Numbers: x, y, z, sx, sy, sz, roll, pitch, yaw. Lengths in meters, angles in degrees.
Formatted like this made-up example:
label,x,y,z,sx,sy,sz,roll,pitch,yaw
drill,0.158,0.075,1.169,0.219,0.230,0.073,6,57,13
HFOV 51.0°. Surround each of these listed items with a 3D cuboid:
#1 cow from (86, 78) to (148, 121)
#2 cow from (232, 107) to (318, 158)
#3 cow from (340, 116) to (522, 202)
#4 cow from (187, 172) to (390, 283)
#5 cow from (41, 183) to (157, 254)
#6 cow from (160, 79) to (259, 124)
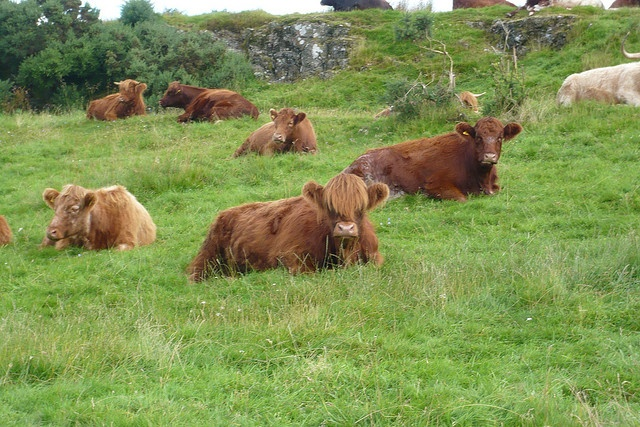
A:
label,x,y,z,sx,sy,sz,roll,pitch,yaw
cow,-7.643,-4.064,24.778,1.118,1.394,2.986,1,-4,-39
cow,-1.029,-2.314,19.038,1.274,1.016,2.206,-3,2,-22
cow,2.794,-1.179,15.895,4.182,1.834,1.810,-5,14,19
cow,-0.653,0.423,12.571,3.346,1.504,1.967,-16,-16,32
cow,-4.541,0.090,13.833,1.301,0.837,2.009,3,1,9
cow,-4.222,-4.039,24.208,3.740,1.648,1.688,11,18,20
